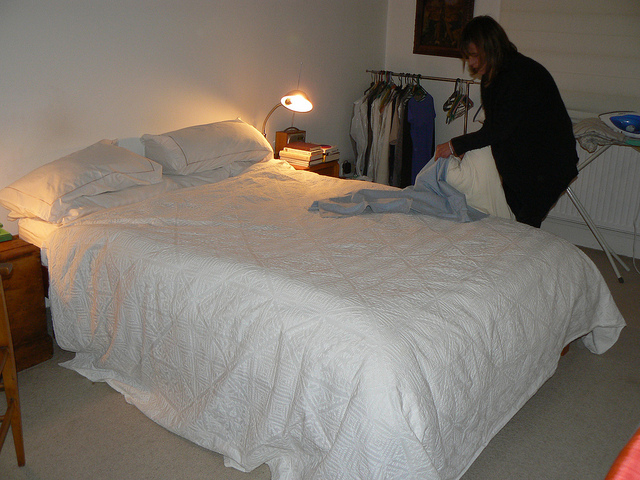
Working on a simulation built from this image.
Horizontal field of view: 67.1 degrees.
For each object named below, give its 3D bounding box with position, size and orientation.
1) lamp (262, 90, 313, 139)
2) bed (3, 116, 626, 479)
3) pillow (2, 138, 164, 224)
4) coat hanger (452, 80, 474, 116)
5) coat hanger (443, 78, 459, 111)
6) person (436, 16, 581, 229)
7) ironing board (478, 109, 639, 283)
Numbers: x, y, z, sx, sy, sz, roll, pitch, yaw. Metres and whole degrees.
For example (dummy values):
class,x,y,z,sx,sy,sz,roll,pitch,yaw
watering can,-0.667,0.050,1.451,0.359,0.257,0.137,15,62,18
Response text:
class,x,y,z,sx,sy,sz,roll,pitch,yaw
lamp,-0.228,-1.080,3.804,0.321,0.388,0.184,22,32,13
bed,-0.099,0.230,2.479,2.841,1.093,1.536,12,27,24
pillow,-1.420,-0.377,2.773,0.471,0.202,0.743,33,39,16
coat hanger,1.361,-1.320,4.530,0.143,0.280,0.172,18,30,35
coat hanger,1.262,-1.401,4.611,0.028,0.071,0.404,17,66,25
person,1.296,-0.499,3.370,0.968,1.933,0.561,1,18,18
ironing board,2.059,-0.541,4.455,1.230,1.856,1.256,-8,25,26
